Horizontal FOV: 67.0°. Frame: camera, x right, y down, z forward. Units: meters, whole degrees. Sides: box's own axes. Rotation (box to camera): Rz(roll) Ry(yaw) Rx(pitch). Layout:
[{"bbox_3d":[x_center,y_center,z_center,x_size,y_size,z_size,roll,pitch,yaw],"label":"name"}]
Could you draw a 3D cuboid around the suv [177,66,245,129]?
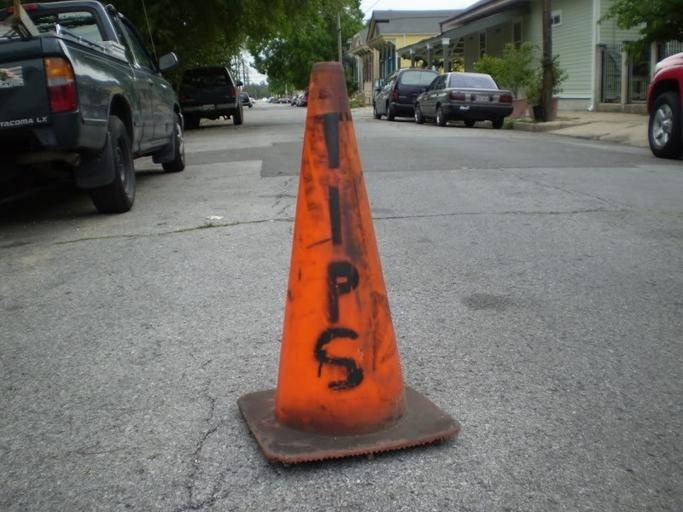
[{"bbox_3d":[-5.610,-6.819,21.803,1.644,1.651,3.490,-1,18,-3],"label":"suv"}]
